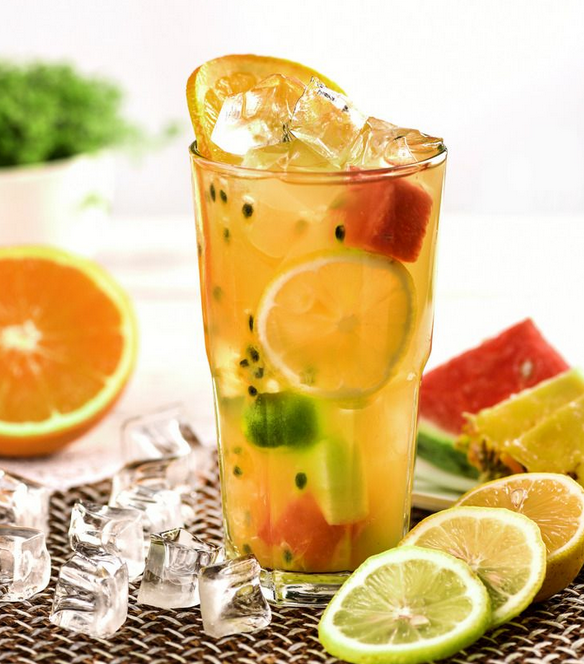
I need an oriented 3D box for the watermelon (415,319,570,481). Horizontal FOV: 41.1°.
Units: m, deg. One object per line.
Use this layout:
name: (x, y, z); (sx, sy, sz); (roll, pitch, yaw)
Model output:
watermelon: (0.317, 0.135, 1.289); (0.259, 0.092, 0.253); (-26, 35, 10)
